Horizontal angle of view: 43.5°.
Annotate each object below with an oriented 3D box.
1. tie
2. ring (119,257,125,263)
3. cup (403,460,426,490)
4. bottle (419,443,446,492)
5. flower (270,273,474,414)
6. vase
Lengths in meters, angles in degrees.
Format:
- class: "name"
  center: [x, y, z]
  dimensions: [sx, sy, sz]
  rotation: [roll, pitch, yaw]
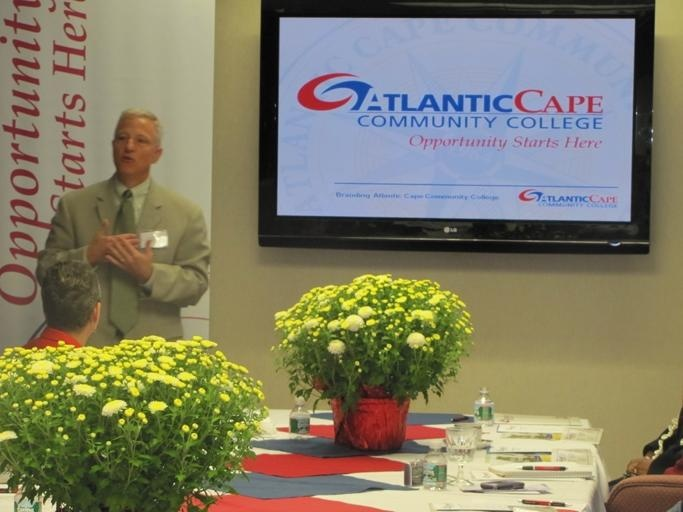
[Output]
- class: "tie"
  center: [-1.189, 0.034, 4.754]
  dimensions: [0.182, 0.569, 0.097]
  rotation: [7, 3, -17]
- class: "ring"
  center: [-1.209, 0.020, 4.720]
  dimensions: [0.020, 0.029, 0.008]
  rotation: [6, 5, -5]
- class: "cup"
  center: [0.240, 0.725, 2.859]
  dimensions: [0.072, 0.131, 0.067]
  rotation: [2, -11, 0]
- class: "bottle"
  center: [0.309, 0.699, 2.851]
  dimensions: [0.103, 0.185, 0.108]
  rotation: [0, 3, 0]
- class: "flower"
  center: [0.105, 0.309, 3.299]
  dimensions: [0.562, 0.401, 0.533]
  rotation: [0, -4, -3]
- class: "vase"
  center: [0.099, 0.582, 3.173]
  dimensions: [0.231, 0.173, 0.248]
  rotation: [6, -9, -42]
